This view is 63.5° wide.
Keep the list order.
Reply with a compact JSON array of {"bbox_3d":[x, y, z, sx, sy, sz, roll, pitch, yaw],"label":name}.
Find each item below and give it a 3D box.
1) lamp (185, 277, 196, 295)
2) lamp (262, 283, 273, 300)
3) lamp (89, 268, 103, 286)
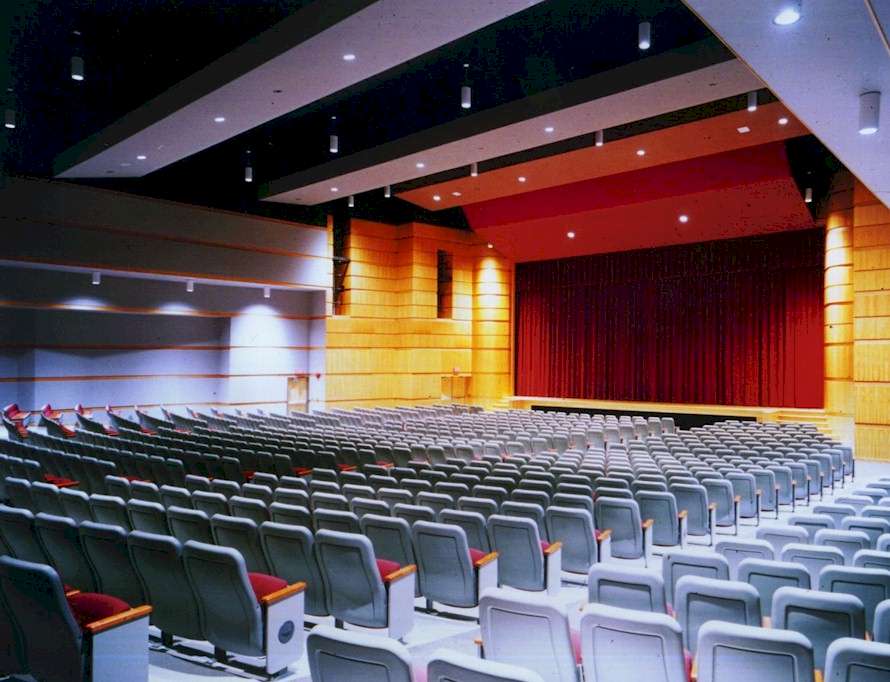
[{"bbox_3d":[-6.719,-1.492,18.941,0.313,0.568,0.310,-1,0,6],"label":"lamp"},{"bbox_3d":[-5.102,-1.443,20.593,0.352,0.559,0.347,0,-4,2],"label":"lamp"},{"bbox_3d":[-8.519,-1.586,17.497,0.283,0.514,0.276,0,2,-15],"label":"lamp"}]
